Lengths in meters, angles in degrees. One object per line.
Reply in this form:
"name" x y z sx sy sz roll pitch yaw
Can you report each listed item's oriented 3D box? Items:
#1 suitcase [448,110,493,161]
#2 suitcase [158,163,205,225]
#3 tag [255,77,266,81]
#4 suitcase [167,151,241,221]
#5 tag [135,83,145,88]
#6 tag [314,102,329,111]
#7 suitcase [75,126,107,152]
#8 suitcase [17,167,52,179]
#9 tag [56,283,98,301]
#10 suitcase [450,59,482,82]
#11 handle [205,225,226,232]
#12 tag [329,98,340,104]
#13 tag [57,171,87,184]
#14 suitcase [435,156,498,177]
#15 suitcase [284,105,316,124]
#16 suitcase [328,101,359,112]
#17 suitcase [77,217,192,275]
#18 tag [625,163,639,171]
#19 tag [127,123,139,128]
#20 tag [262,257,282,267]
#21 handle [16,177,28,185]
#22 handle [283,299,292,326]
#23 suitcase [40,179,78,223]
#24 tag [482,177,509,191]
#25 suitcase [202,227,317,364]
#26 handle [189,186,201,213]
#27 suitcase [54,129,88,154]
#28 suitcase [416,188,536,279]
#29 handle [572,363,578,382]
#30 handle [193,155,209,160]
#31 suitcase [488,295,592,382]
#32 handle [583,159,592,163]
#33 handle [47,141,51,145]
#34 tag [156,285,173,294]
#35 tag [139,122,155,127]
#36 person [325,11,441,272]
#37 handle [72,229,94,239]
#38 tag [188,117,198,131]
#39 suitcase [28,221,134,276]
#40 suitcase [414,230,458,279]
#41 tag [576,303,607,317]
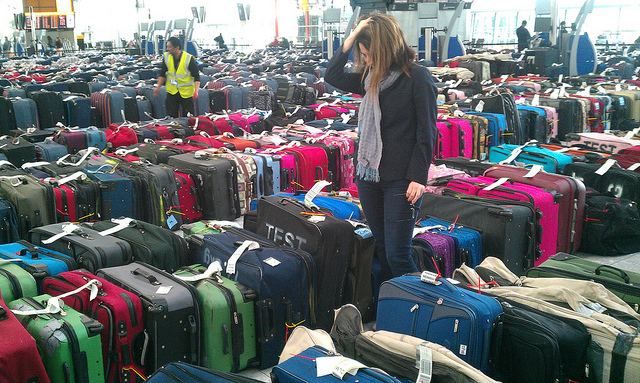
"suitcase" 2.314 -0.818 8.365 0.769 0.693 0.437 9 17 35
"suitcase" -1.714 0.046 6.633 0.487 0.836 0.604 -12 15 -37
"tag" -1.442 -2.706 13.152 0.251 0.073 0.254 6 11 38
"suitcase" -1.552 0.004 7.185 1.053 0.807 0.570 5 12 41
"tag" -3.987 -2.340 11.966 0.190 0.068 0.134 -6 15 30
"tag" 0.010 -1.581 10.169 0.193 0.091 0.256 -21 5 -1
"suitcase" -3.546 -0.923 8.373 0.333 0.512 0.585 -7 14 -33
"suitcase" -3.480 -0.229 6.596 0.345 0.101 0.210 27 14 13
"tag" -1.937 0.791 4.355 0.219 0.084 0.147 -13 -9 -8
"suitcase" 4.022 -3.297 14.968 0.625 0.540 0.959 -3 12 -13
"handle" -1.010 0.333 5.274 0.193 0.039 0.056 22 22 27
"tag" 0.295 -1.754 10.693 0.082 0.104 0.265 10 33 22
"tag" -2.876 -0.170 6.246 0.251 0.081 0.137 -10 18 -34
"suitcase" 1.883 -0.339 6.914 0.340 0.144 0.458 -10 17 -41
"suitcase" -0.355 -1.335 9.534 0.454 0.162 0.273 13 17 39
"suitcase" 0.522 -1.607 10.313 0.348 0.136 0.461 -12 25 -41
"suitcase" -1.682 0.427 5.126 0.822 0.315 0.459 24 23 28
"tag" 3.952 -0.306 6.852 0.016 0.033 0.144 37 -26 -3
"tag" -2.994 -1.036 8.610 0.134 0.052 0.182 9 14 39
"tag" -0.425 0.606 4.707 0.111 0.016 0.147 -14 21 -29
"handle" -3.311 -0.115 5.983 0.092 0.049 0.064 14 -6 -27
"handle" -0.282 1.038 4.710 0.064 0.230 0.037 -2 13 -7
"suitcase" -2.953 0.122 6.164 0.243 0.370 0.407 -4 -6 -3
"tag" 1.929 -0.082 5.935 0.100 0.016 0.335 26 38 31
"suitcase" -0.680 0.895 5.217 0.741 0.974 1.364 -11 20 -41
"handle" -1.553 0.093 6.785 0.195 0.266 0.096 9 15 30
"suitcase" -3.732 -0.749 8.096 0.347 0.335 0.489 -10 17 -43
"suitcase" 1.727 0.445 6.006 1.271 0.878 0.764 8 19 44
"handle" 1.970 1.379 4.188 0.044 0.138 0.015 -2 13 -8
"handle" -1.508 -0.430 6.929 0.117 0.048 0.041 0 11 11
"suitcase" 1.706 1.166 4.217 0.318 0.546 0.604 -10 12 -37
"handle" 3.417 -0.389 6.922 0.073 0.074 0.054 -10 2 24
"handle" -3.912 -0.688 7.778 0.050 0.028 0.015 -1 -21 9
"tag" -1.286 0.795 4.421 0.108 0.035 0.072 -1 11 -4
"tag" -2.796 -1.064 8.718 0.121 0.029 0.113 -19 8 -37
"person" 0.517 -0.390 4.554 0.828 2.118 0.330 5 14 25
"handle" -2.218 0.394 5.047 0.245 0.033 0.073 21 33 30
"tag" -2.083 -1.079 8.819 0.086 0.138 0.144 2 -15 -34
"suitcase" -2.328 0.495 5.123 1.001 0.349 0.572 12 12 24
"suitcase" 1.090 0.608 5.136 0.258 0.459 0.307 -21 29 -27
"tag" 2.168 0.932 4.359 0.265 0.112 0.087 -2 41 40
